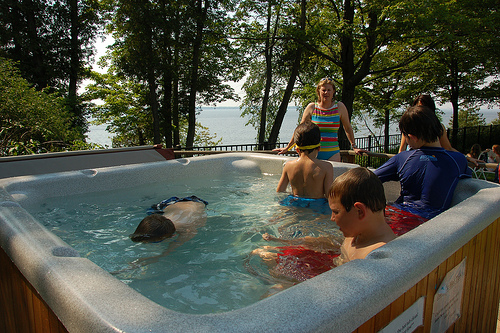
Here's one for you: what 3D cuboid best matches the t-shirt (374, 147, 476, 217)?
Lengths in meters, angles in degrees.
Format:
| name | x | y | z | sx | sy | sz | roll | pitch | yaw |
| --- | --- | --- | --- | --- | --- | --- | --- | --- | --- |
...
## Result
| name | x | y | z | sx | sy | sz | roll | pitch | yaw |
| --- | --- | --- | --- | --- | --- | --- | --- | --- | --- |
| t-shirt | 1.730 | 0.128 | 3.499 | 0.906 | 0.685 | 0.390 | 3 | 14 | 20 |

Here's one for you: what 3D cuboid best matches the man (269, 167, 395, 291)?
| name | x | y | z | sx | sy | sz | roll | pitch | yaw |
| --- | --- | --- | --- | --- | --- | --- | --- | --- | --- |
| man | 0.549 | 0.473 | 2.768 | 1.197 | 0.821 | 0.798 | -4 | 3 | 28 |
